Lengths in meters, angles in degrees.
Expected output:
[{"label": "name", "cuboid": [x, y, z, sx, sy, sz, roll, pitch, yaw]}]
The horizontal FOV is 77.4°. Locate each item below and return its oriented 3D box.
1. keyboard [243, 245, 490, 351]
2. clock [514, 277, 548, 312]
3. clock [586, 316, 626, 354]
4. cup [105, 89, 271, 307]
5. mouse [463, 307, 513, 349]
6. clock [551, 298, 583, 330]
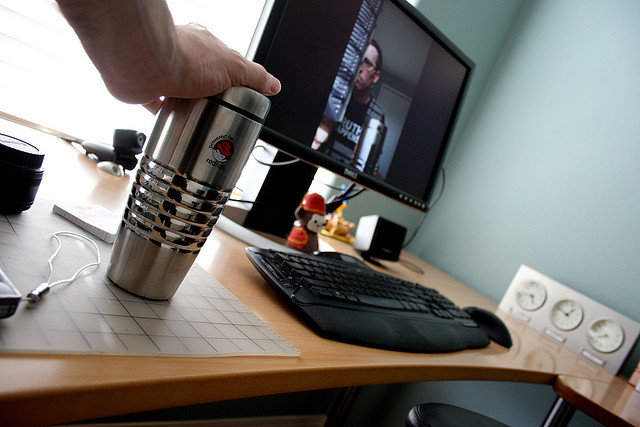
[{"label": "keyboard", "cuboid": [0.113, 0.167, 0.813, 0.510, 0.077, 0.306, 15, 8, -34]}, {"label": "clock", "cuboid": [0.767, 0.291, 1.449, 0.023, 0.108, 0.108, 39, 7, -45]}, {"label": "clock", "cuboid": [0.918, 0.391, 1.292, 0.120, 0.112, 0.026, 5, 2, 2]}, {"label": "cup", "cuboid": [-0.178, -0.031, 0.530, 0.120, 0.217, 0.081, 17, 7, -27]}, {"label": "mouse", "cuboid": [0.391, 0.270, 0.976, 0.114, 0.030, 0.085, 34, 22, 22]}, {"label": "clock", "cuboid": [0.865, 0.369, 1.420, 0.154, 0.031, 0.151, 25, 23, -50]}]
